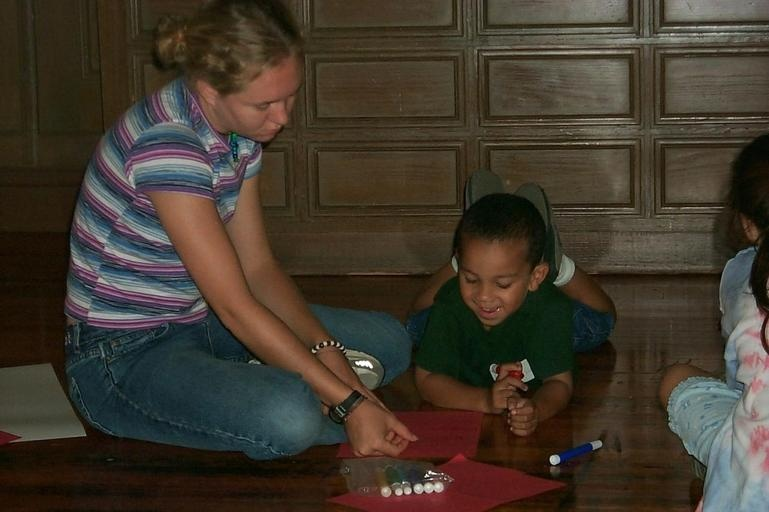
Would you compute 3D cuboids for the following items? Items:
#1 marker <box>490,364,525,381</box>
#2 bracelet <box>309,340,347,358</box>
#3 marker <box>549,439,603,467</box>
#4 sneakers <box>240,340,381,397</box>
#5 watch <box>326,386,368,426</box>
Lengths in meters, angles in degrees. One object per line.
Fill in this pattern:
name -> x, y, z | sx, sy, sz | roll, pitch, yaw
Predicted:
marker -> 0.345, 0.324, 2.161 | 0.085, 0.021, 0.051 | -2, 30, 1
bracelet -> -0.135, 0.236, 1.982 | 0.065, 0.019, 0.048 | 16, 29, 26
marker -> 0.479, 0.477, 1.930 | 0.223, 0.038, 0.042 | -4, 48, -40
sneakers -> -0.206, 0.290, 2.317 | 0.441, 0.129, 0.163 | 15, 35, 19
watch -> -0.086, 0.352, 1.822 | 0.048, 0.073, 0.081 | 44, 31, 12
